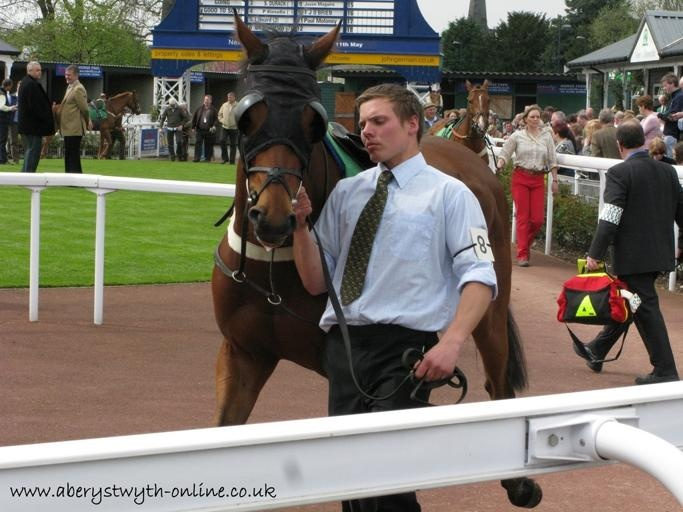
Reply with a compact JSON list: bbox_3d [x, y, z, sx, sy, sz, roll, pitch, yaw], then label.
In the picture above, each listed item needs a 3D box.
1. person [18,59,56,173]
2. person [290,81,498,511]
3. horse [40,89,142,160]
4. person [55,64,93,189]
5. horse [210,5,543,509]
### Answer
[{"bbox_3d":[-3.963,-1.712,13.767,0.410,1.574,0.508,1,5,-20],"label":"person"},{"bbox_3d":[0.218,0.008,4.530,0.894,1.433,0.542,4,11,11],"label":"person"},{"bbox_3d":[-4.933,-2.552,21.176,1.812,1.408,0.564,2,5,2],"label":"horse"},{"bbox_3d":[-3.686,-1.764,14.298,0.466,1.580,0.568,6,15,10],"label":"person"},{"bbox_3d":[-0.054,0.126,6.202,1.073,2.534,3.080,-11,-17,40],"label":"horse"}]
